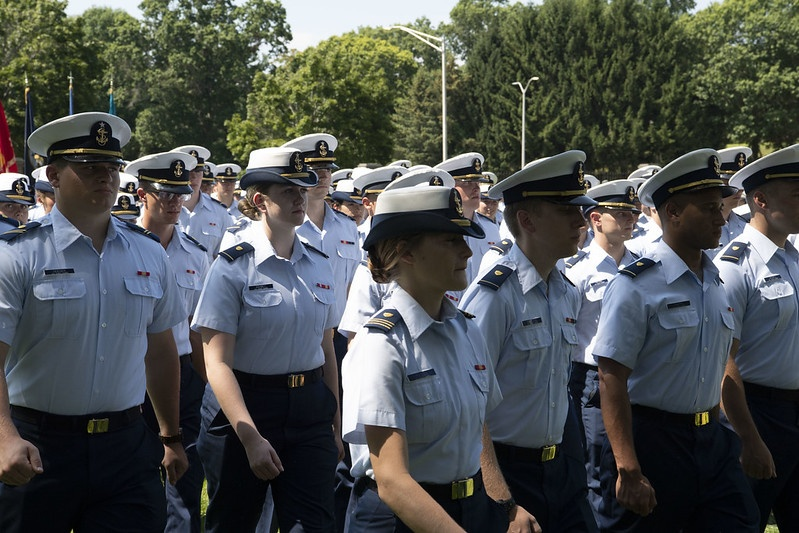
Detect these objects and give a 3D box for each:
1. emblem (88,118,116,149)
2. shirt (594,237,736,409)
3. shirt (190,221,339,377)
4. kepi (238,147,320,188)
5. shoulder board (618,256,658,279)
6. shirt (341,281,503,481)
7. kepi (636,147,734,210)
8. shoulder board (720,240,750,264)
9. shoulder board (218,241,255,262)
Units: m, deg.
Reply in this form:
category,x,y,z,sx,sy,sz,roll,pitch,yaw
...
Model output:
category,x,y,z,sx,sy,sz,roll,pitch,yaw
emblem,-2.047,-0.914,6.384,0.233,0.252,0.033,3,-18,-41
shirt,1.998,0.452,6.764,1.369,1.198,0.645,3,-5,-32
shirt,-0.925,0.256,7.140,0.632,1.172,1.348,0,0,44
kepi,-0.963,-0.787,7.383,0.640,0.281,0.586,1,9,31
shoulder board,1.684,0.005,6.586,0.227,0.066,0.139,-33,28,-6
shirt,0.155,0.713,5.618,0.684,1.106,1.268,-3,-2,44
kepi,2.030,-0.592,6.713,0.535,0.244,0.484,-2,-2,33
shoulder board,2.596,-0.104,7.166,0.207,0.045,0.361,15,38,28
shoulder board,-1.211,-0.114,6.910,0.216,0.126,0.076,-30,-25,-21
